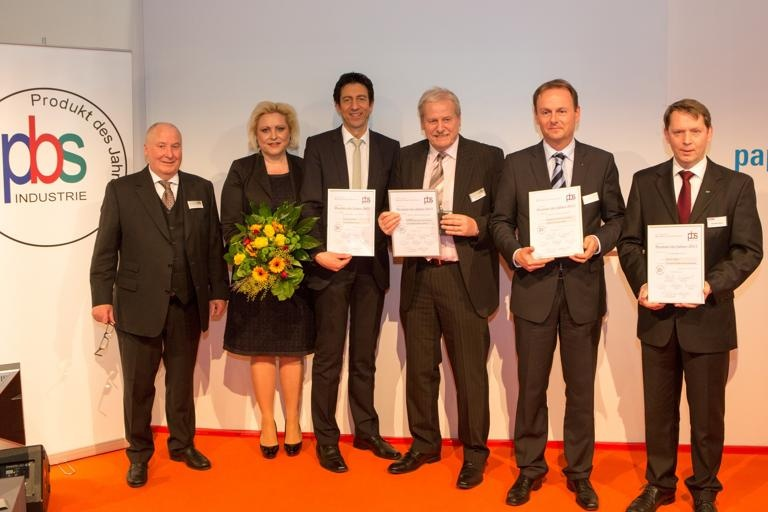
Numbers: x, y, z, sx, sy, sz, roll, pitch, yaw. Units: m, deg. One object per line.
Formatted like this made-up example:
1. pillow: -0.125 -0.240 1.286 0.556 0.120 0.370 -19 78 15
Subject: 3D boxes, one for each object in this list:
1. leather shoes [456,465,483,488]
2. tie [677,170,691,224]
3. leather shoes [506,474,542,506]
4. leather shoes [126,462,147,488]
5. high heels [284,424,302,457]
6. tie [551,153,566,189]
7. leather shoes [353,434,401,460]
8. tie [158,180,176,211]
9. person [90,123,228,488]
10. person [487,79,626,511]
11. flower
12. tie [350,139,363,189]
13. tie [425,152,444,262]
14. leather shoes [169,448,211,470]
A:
1. leather shoes: 0.624 1.598 4.601 0.185 0.136 0.132 1 6 8
2. tie: 2.003 -0.383 4.242 0.089 0.341 0.086 3 7 28
3. leather shoes: 0.972 1.638 4.523 0.123 0.163 0.362 9 5 39
4. leather shoes: -1.793 1.602 4.658 0.141 0.135 0.147 -3 7 -26
5. high heels: -0.711 1.465 4.994 0.090 0.271 0.104 -1 -32 0
6. tie: 1.211 -0.573 4.391 0.111 0.308 0.040 -2 35 17
7. leather shoes: -0.050 1.468 4.980 0.392 0.148 0.149 12 10 32
8. tie: -1.577 -0.432 4.694 0.095 0.225 0.057 -5 -9 -25
9. person: -1.645 0.351 4.728 0.965 2.608 0.385 -2 6 -22
10. person: 1.179 0.267 4.396 0.890 2.905 0.463 2 6 15
11. flower: -0.820 -0.007 4.710 0.695 0.752 0.405 -1 6 -7
12. tie: -0.203 -0.676 4.763 0.105 0.356 0.039 -1 10 -13
13. tie: 0.393 -0.345 4.692 0.203 0.863 0.054 -16 24 -37
14. leather shoes: -1.444 1.522 4.877 0.355 0.143 0.138 8 14 20
